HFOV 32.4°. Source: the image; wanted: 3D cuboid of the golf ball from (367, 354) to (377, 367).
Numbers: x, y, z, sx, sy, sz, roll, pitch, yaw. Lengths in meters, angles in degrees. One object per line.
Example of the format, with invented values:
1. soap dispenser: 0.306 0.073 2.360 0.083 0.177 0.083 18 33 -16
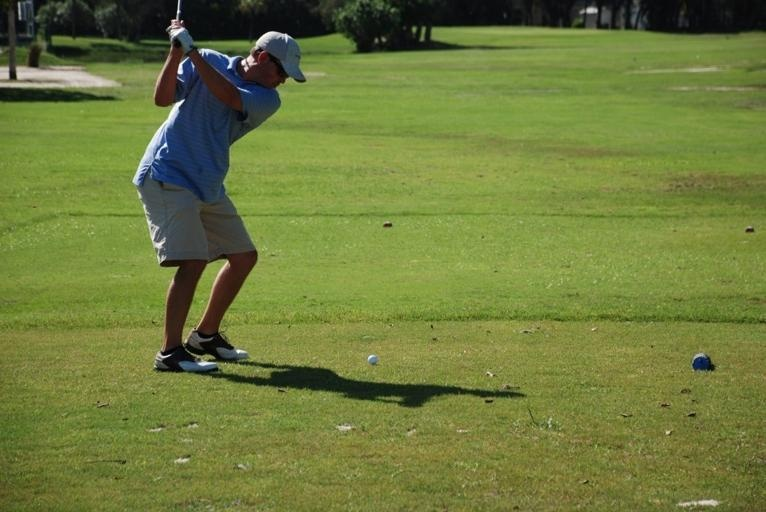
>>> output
1. golf ball: -0.100 0.891 11.390 0.087 0.059 0.081 -10 3 1

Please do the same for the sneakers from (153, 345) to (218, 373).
1. sneakers: -1.712 0.877 11.243 0.588 0.201 0.207 1 -5 2

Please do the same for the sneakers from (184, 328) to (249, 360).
1. sneakers: -1.450 0.744 11.512 0.644 0.272 0.221 11 -2 -2

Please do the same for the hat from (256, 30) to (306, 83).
1. hat: -0.870 -1.699 11.178 0.521 0.275 0.328 29 23 -3

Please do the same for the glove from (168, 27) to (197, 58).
1. glove: -1.660 -1.785 10.904 0.223 0.213 0.127 1 7 -7
